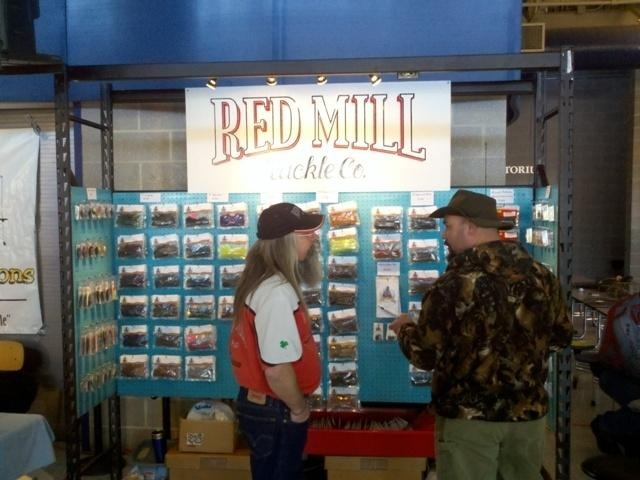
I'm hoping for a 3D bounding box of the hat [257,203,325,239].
[{"bbox_3d":[-0.257,-0.163,5.904,0.386,0.156,0.274,-14,21,-4],"label":"hat"}]

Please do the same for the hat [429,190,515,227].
[{"bbox_3d":[1.156,-0.224,5.863,0.405,0.167,0.349,11,3,14],"label":"hat"}]

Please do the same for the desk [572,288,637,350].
[{"bbox_3d":[3.176,0.898,9.049,0.490,0.519,2.492,-1,2,17],"label":"desk"}]

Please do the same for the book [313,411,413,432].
[{"bbox_3d":[0.351,1.654,7.203,0.385,0.104,0.415,-1,0,24],"label":"book"}]

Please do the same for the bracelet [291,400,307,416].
[{"bbox_3d":[-0.171,1.234,5.792,0.103,0.072,0.137,-2,-12,-3],"label":"bracelet"}]

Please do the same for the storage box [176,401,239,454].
[{"bbox_3d":[-1.016,1.698,7.067,0.429,0.287,0.441,-1,-3,13],"label":"storage box"}]
